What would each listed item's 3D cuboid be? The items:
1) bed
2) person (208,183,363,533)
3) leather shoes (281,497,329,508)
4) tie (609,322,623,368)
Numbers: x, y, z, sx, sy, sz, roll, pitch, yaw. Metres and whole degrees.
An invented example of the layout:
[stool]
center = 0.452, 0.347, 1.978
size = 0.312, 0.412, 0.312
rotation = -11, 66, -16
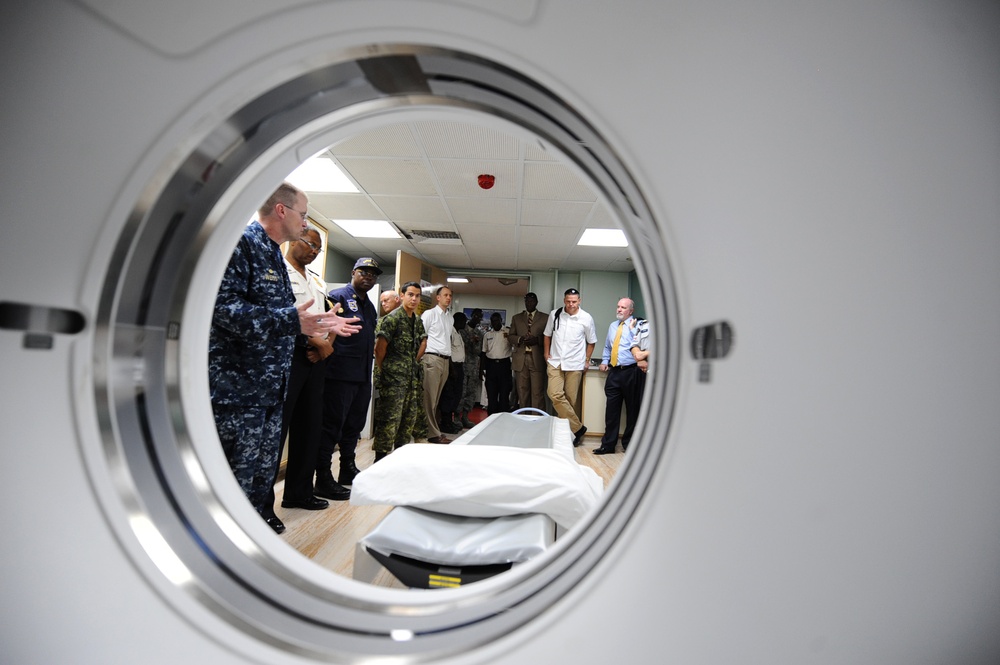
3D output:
[bed]
center = -0.061, 0.477, 1.682
size = 0.627, 0.262, 0.538
rotation = -2, 4, -8
[person]
center = -0.635, 0.120, 1.952
size = 0.387, 1.153, 0.471
rotation = -2, 3, -11
[leather shoes]
center = -0.755, 0.667, 2.488
size = 0.172, 0.059, 0.063
rotation = 2, -4, -5
[tie]
center = 0.721, 0.065, 3.927
size = 0.060, 0.293, 0.173
rotation = -2, 3, -14
